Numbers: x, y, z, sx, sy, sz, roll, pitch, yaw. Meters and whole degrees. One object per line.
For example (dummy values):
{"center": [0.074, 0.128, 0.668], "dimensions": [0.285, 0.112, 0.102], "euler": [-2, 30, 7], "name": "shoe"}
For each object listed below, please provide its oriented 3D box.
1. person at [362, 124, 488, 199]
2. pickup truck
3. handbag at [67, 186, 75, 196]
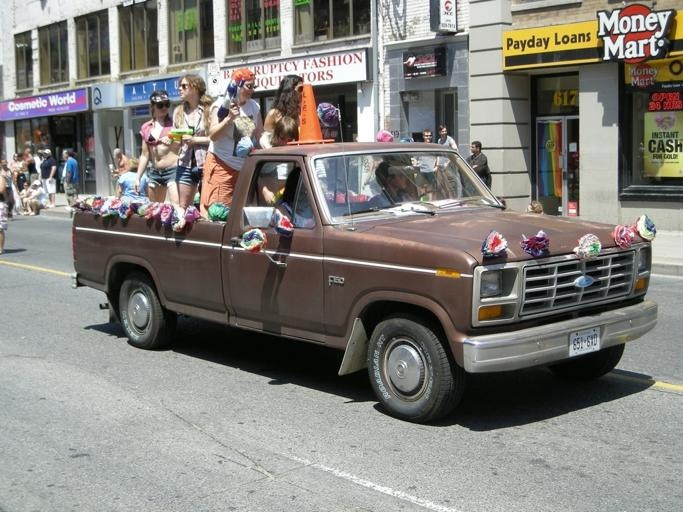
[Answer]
{"center": [0.838, -0.902, 5.924], "dimensions": [1.011, 0.546, 0.691], "euler": [-4, 11, -10], "name": "person"}
{"center": [-0.368, -0.024, 6.616], "dimensions": [6.704, 2.346, 2.334], "euler": [4, 8, 38], "name": "pickup truck"}
{"center": [-11.937, -2.853, 26.465], "dimensions": [0.330, 0.343, 0.450], "euler": [-6, 9, -44], "name": "handbag"}
